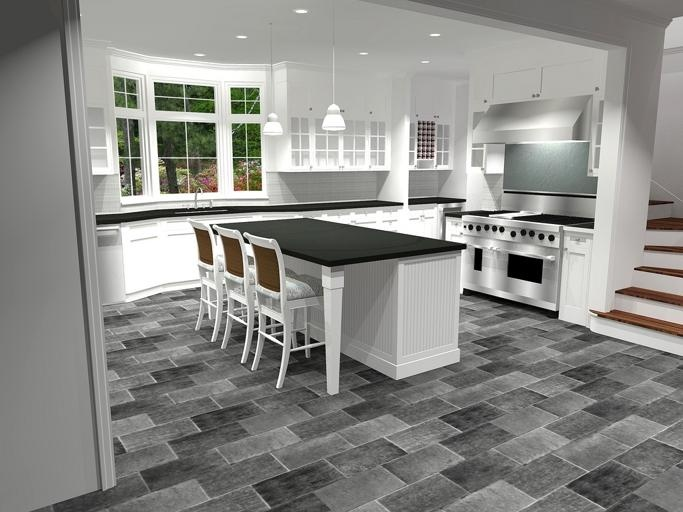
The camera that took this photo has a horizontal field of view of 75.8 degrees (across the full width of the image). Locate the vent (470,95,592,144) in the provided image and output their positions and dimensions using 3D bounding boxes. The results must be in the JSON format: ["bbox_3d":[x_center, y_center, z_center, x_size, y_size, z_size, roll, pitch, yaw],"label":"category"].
[{"bbox_3d":[2.411,-1.723,5.564,0.391,0.545,1.373,-11,17,-41],"label":"vent"}]

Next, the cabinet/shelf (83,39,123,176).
[{"bbox_3d":[-3.264,-1.941,5.842,0.597,1.736,0.512,0,15,-16],"label":"cabinet/shelf"}]

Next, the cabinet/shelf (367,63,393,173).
[{"bbox_3d":[0.587,-2.414,7.850,0.419,1.688,0.193,5,11,15],"label":"cabinet/shelf"}]

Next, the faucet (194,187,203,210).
[{"bbox_3d":[-2.250,-0.920,6.849,0.125,0.280,0.463,-4,13,-17],"label":"faucet"}]

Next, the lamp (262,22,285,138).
[{"bbox_3d":[-0.843,-2.142,5.327,0.318,1.255,0.299,18,30,28],"label":"lamp"}]

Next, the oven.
[{"bbox_3d":[2.444,0.137,5.849,0.991,0.881,1.551,-4,9,-27],"label":"oven"}]

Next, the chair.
[{"bbox_3d":[-0.785,0.485,4.095,0.605,1.143,1.389,-7,13,-31],"label":"chair"}]

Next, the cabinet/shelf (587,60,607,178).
[{"bbox_3d":[2.933,-1.462,5.118,0.203,0.933,0.109,-15,10,-39],"label":"cabinet/shelf"}]

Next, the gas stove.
[{"bbox_3d":[2.296,-0.302,5.736,0.833,0.263,1.228,3,7,-45],"label":"gas stove"}]
